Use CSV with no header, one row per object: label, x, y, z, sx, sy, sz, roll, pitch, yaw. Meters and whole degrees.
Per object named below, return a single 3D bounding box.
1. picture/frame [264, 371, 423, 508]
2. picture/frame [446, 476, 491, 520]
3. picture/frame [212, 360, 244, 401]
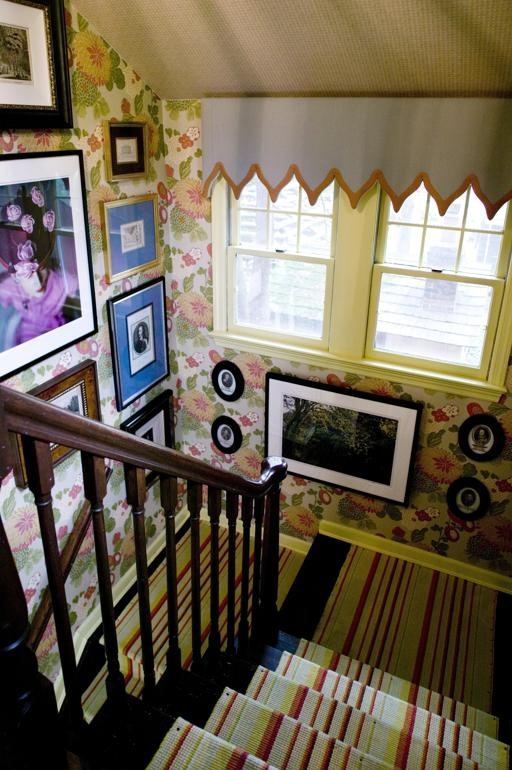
picture/frame,0.537,0.287,2.928,0.741,0.612,0.029,16,35,18
picture/frame,1.185,0.632,2.814,0.243,0.231,0.088,55,28,6
picture/frame,-0.189,-0.025,3.282,0.227,0.256,0.055,-6,13,36
